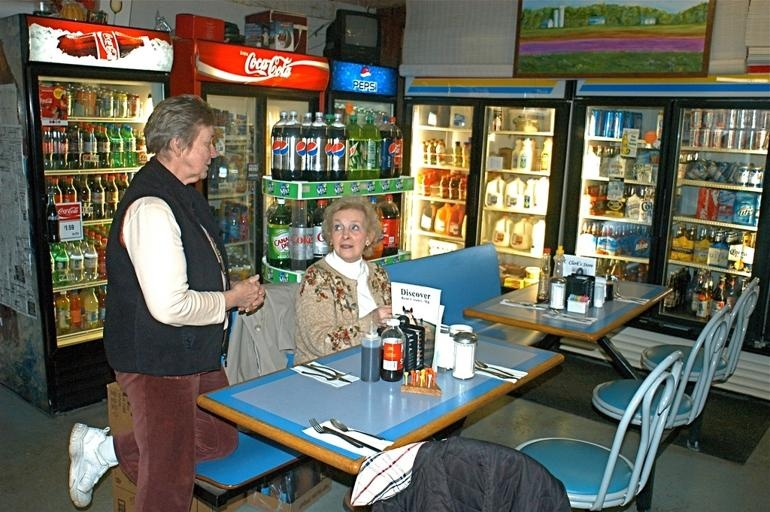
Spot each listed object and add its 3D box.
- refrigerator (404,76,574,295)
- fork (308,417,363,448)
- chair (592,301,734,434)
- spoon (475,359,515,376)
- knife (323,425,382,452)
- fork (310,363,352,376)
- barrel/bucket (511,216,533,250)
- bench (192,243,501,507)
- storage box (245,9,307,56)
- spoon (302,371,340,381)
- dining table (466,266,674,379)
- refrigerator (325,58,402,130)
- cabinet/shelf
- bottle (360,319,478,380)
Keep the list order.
[{"bbox_3d":[0.976,-0.961,6.195,1.448,1.878,0.569,2,-21,5],"label":"refrigerator"},{"bbox_3d":[-0.197,0.709,2.221,0.180,0.025,0.030,17,39,35],"label":"fork"},{"bbox_3d":[1.975,0.778,3.889,0.665,0.996,0.697,-23,36,-33],"label":"chair"},{"bbox_3d":[0.536,0.557,2.721,0.060,0.028,0.215,-10,13,-39],"label":"spoon"},{"bbox_3d":[-0.132,0.722,2.190,0.180,0.018,0.023,19,23,32],"label":"knife"},{"bbox_3d":[-0.271,0.547,2.673,0.201,0.009,0.065,8,12,36],"label":"fork"},{"bbox_3d":[1.520,-0.258,6.199,0.276,0.356,0.257,4,4,0],"label":"barrel/bucket"},{"bbox_3d":[-0.248,0.589,2.730,0.740,0.356,1.651,18,24,34],"label":"bench"},{"bbox_3d":[-1.069,-2.201,5.483,0.315,0.342,0.533,8,20,3],"label":"storage box"},{"bbox_3d":[-0.301,0.550,2.620,0.139,0.018,0.049,6,12,26],"label":"spoon"},{"bbox_3d":[1.408,0.597,3.955,0.814,0.361,1.508,-6,-1,44],"label":"dining table"},{"bbox_3d":[-0.130,-1.662,6.012,0.888,0.743,0.298,18,28,33],"label":"refrigerator"},{"bbox_3d":[-0.316,-0.237,4.256,1.161,0.626,0.614,-8,16,-35],"label":"cabinet/shelf"},{"bbox_3d":[0.142,0.431,2.684,0.430,0.126,0.286,0,1,-27],"label":"bottle"}]
